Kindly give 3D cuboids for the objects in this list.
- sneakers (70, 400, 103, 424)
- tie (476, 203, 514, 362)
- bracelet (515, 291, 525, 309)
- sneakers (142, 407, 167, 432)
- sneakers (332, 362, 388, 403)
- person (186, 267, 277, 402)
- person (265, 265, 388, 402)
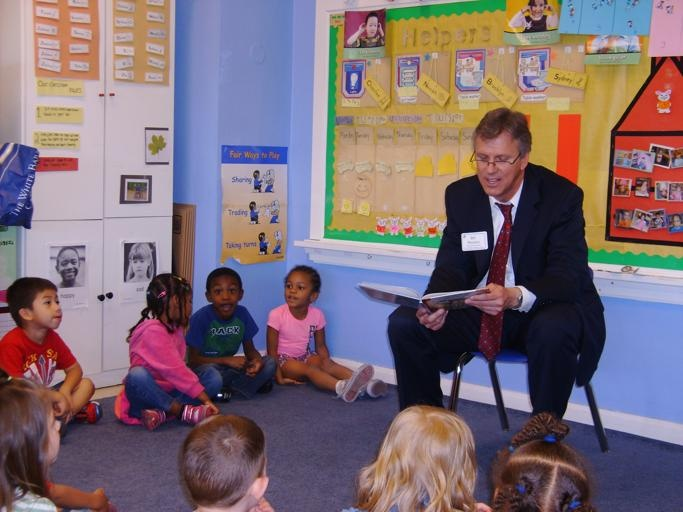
[{"bbox_3d":[-1.263,0.782,2.613,0.146,0.067,0.071,-21,5,26],"label":"sneakers"},{"bbox_3d":[0.690,0.153,2.334,0.124,0.764,0.052,2,-8,15],"label":"tie"},{"bbox_3d":[0.736,0.183,2.153,0.021,0.059,0.041,7,-4,15],"label":"bracelet"},{"bbox_3d":[-0.929,0.812,2.621,0.068,0.051,0.115,31,1,8],"label":"sneakers"},{"bbox_3d":[0.105,0.716,2.988,0.344,0.159,0.158,0,-12,-42],"label":"sneakers"},{"bbox_3d":[-0.635,0.449,3.052,0.485,0.771,0.576,-1,3,-14],"label":"person"},{"bbox_3d":[-0.134,0.445,3.172,0.332,0.803,0.750,-2,6,-45],"label":"person"}]
